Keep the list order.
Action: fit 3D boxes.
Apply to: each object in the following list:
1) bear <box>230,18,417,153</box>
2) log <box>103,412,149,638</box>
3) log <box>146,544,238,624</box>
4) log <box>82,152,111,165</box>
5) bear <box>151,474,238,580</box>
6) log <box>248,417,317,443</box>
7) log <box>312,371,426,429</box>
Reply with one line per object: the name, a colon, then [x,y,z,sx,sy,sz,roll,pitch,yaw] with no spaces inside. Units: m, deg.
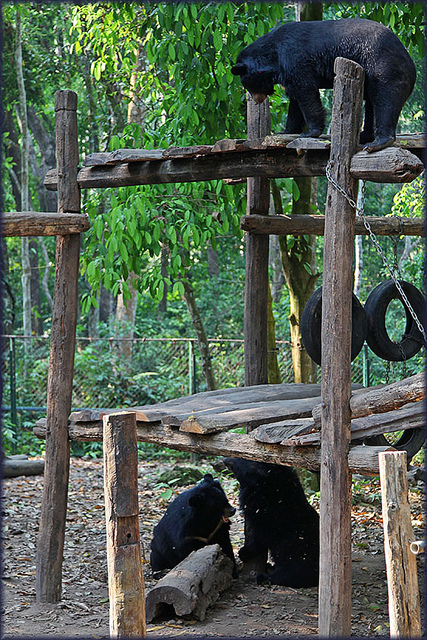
bear: [0.758,-1.614,7.582,1.261,0.825,0.531,2,18,5]
log: [-0.532,1.203,6.436,0.209,1.310,0.291,-2,3,-6]
log: [-0.146,1.874,7.827,0.350,0.430,0.716,0,3,33]
log: [-0.886,-1.208,8.338,0.128,0.049,0.150,-3,2,-39]
bear: [-0.183,1.632,8.552,0.530,0.765,0.904,-9,-1,-41]
log: [0.440,0.728,7.170,0.504,0.184,0.271,-1,3,15]
log: [0.998,0.514,6.840,0.766,0.360,0.260,0,3,32]
